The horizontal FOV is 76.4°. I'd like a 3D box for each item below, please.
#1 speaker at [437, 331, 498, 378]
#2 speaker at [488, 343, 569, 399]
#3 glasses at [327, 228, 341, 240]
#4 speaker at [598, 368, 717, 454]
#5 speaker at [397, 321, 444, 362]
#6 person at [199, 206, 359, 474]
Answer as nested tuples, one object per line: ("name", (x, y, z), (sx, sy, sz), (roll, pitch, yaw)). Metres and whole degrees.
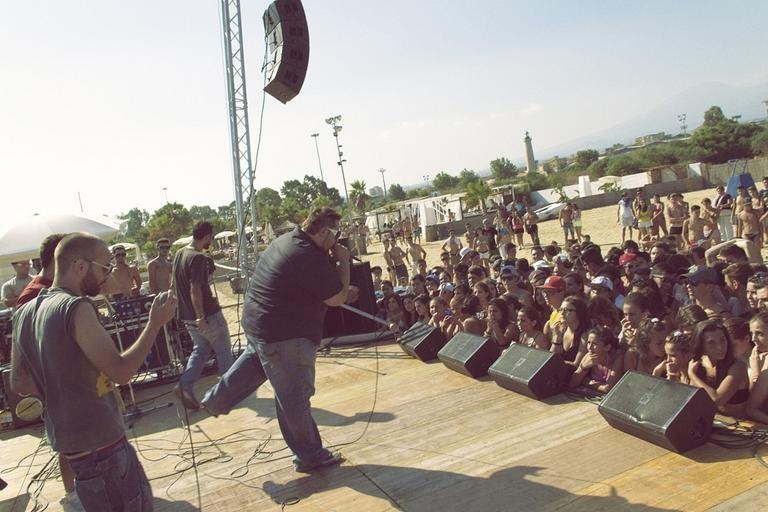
("speaker", (1.096, 1.262, 6.320), (0.569, 0.416, 0.612), (-25, 6, -20))
("speaker", (1.677, 1.197, 5.521), (0.579, 0.409, 0.676), (-12, 6, -26))
("glasses", (-0.465, -0.221, 4.661), (0.105, 0.043, 0.059), (24, 29, 31))
("speaker", (2.464, 1.310, 4.367), (0.585, 0.615, 0.842), (-14, 14, -32))
("speaker", (0.582, 1.266, 7.368), (0.487, 0.444, 0.650), (-55, 8, -12))
("person", (-0.951, 0.832, 4.683), (1.390, 2.428, 0.658), (-6, 9, 15))
